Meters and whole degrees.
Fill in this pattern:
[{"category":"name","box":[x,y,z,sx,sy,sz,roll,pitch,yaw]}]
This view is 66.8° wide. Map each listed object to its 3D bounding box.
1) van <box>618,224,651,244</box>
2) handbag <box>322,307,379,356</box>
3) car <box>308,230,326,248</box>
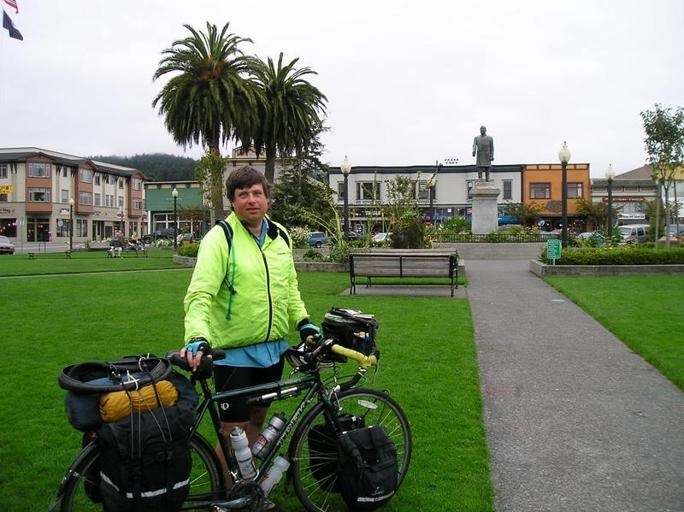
[{"category":"van","box":[21.424,-1.597,38.123,2.180,1.321,1.528,0,0,-23]},{"category":"handbag","box":[0.050,0.572,3.981,0.373,0.393,0.329,3,0,31]},{"category":"car","box":[-2.352,-1.643,47.879,0.981,1.007,1.910,-1,-3,6]}]
